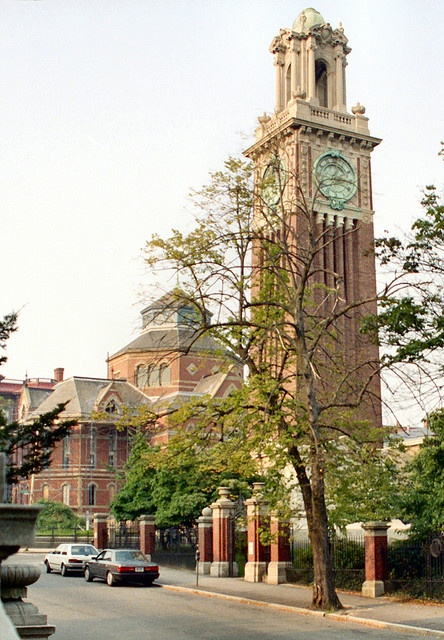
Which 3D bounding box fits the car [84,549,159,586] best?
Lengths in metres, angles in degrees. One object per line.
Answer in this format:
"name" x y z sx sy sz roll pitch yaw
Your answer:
"car" -3.139 7.488 40.011 1.014 0.702 2.130 8 -14 -26
